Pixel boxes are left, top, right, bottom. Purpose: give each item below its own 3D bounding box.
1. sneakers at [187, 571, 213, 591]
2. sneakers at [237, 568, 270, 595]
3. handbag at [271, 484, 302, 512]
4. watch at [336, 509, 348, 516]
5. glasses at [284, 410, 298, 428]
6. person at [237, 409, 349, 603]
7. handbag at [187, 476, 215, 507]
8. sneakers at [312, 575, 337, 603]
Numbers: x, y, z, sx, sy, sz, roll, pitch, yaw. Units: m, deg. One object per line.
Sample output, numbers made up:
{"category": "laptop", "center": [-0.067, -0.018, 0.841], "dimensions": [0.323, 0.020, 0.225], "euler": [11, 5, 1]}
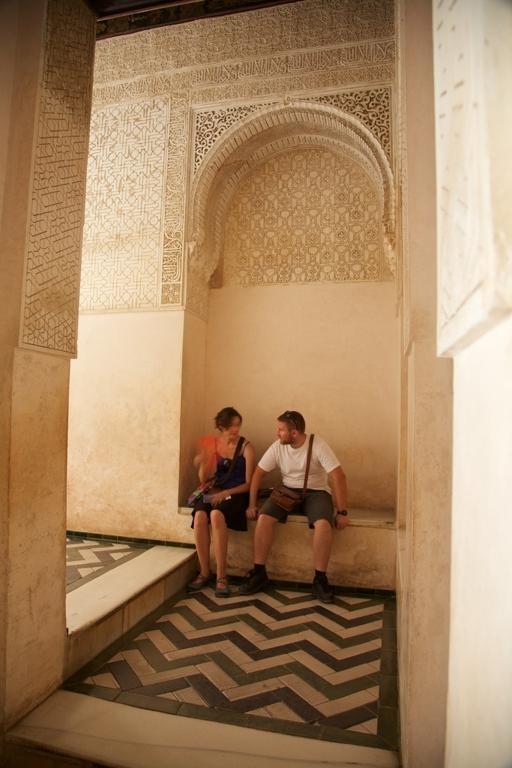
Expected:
{"category": "sneakers", "center": [-0.344, 1.222, 3.900], "dimensions": [0.063, 0.066, 0.170], "euler": [-8, -14, 28]}
{"category": "sneakers", "center": [-0.012, 1.172, 3.822], "dimensions": [0.105, 0.138, 0.227], "euler": [1, 0, 26]}
{"category": "handbag", "center": [0.206, 0.716, 3.941], "dimensions": [0.152, 0.176, 0.205], "euler": [0, 0, 39]}
{"category": "watch", "center": [0.536, 0.797, 3.934], "dimensions": [0.056, 0.044, 0.063], "euler": [0, -16, -2]}
{"category": "glasses", "center": [0.211, 0.224, 3.976], "dimensions": [0.096, 0.098, 0.075], "euler": [-3, 3, 43]}
{"category": "person", "center": [0.249, 0.708, 3.957], "dimensions": [0.628, 1.068, 0.682], "euler": [1, -1, 7]}
{"category": "handbag", "center": [-0.387, 0.730, 4.124], "dimensions": [0.076, 0.206, 0.163], "euler": [42, 19, -4]}
{"category": "sneakers", "center": [0.390, 1.179, 3.649], "dimensions": [0.074, 0.088, 0.180], "euler": [1, -6, -15]}
